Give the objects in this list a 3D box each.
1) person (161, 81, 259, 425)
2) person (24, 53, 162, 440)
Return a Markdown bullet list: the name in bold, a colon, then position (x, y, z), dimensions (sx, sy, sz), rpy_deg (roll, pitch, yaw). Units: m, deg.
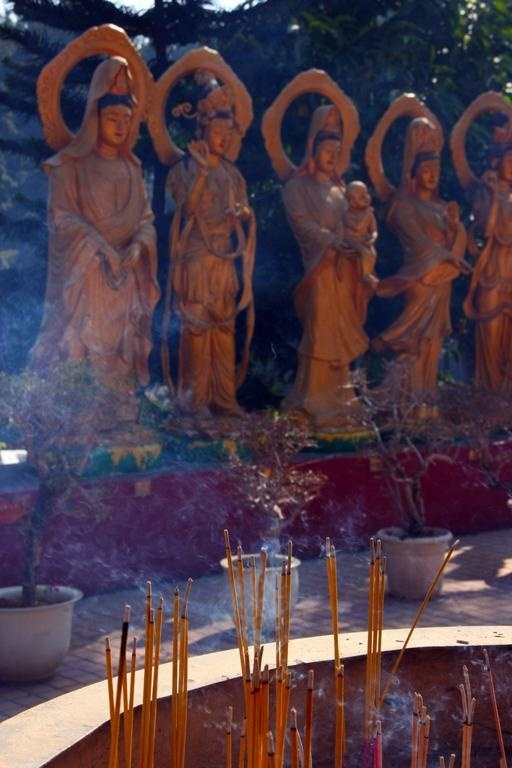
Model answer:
- **person**: position (-0.346, -1.030, 9.168), dimensions (0.496, 2.484, 0.829), rpy_deg (-5, -10, 34)
- **person**: position (-0.998, -1.031, 8.172), dimensions (0.686, 0.667, 2.567), rpy_deg (-7, -51, -19)
